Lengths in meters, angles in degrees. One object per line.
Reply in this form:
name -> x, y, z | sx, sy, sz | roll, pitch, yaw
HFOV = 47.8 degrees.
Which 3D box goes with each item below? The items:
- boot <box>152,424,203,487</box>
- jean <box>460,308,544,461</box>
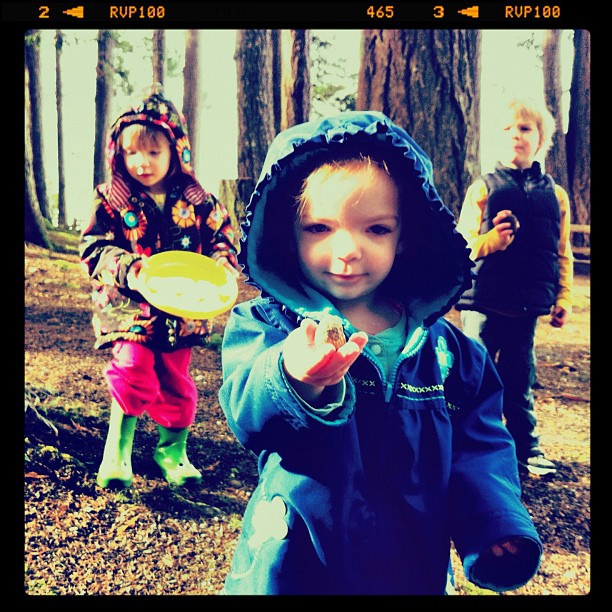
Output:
boot -> -0.647, 0.737, 3.480 | 0.288, 0.292, 0.156 | 25, 24, 28
jean -> 0.985, 0.392, 3.476 | 0.420, 0.733, 0.208 | 2, 6, -14
